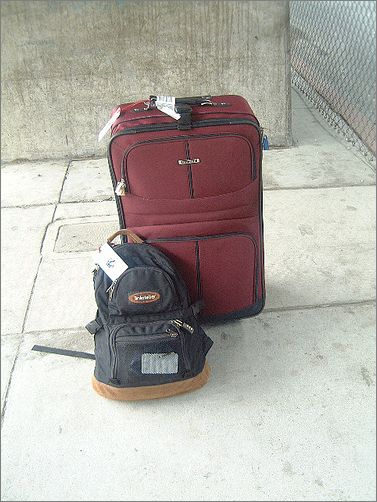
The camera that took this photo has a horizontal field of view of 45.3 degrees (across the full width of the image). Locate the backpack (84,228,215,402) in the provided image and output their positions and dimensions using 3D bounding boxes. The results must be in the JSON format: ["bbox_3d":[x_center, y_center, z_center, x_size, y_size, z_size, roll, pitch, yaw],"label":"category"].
[{"bbox_3d":[-0.149,0.239,1.572,0.480,0.497,0.554,2,34,-5],"label":"backpack"}]
